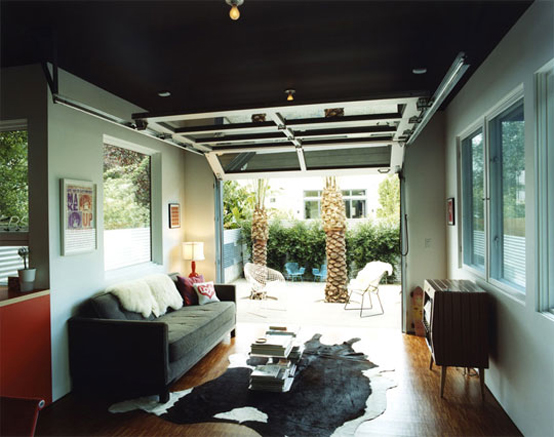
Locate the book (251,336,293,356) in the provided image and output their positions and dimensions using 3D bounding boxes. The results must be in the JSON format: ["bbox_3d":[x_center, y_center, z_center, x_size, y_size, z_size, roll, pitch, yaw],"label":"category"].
[{"bbox_3d":[-0.057,1.509,4.682,0.279,0.069,0.287,0,1,10],"label":"book"}]

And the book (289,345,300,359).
[{"bbox_3d":[0.212,1.641,4.866,0.097,0.029,0.137,-1,19,17],"label":"book"}]

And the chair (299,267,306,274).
[{"bbox_3d":[0.655,1.323,10.145,0.146,0.164,0.181,0,-10,1],"label":"chair"}]

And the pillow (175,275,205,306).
[{"bbox_3d":[-1.323,1.097,5.957,0.142,0.309,0.387,-8,-2,21],"label":"pillow"}]
